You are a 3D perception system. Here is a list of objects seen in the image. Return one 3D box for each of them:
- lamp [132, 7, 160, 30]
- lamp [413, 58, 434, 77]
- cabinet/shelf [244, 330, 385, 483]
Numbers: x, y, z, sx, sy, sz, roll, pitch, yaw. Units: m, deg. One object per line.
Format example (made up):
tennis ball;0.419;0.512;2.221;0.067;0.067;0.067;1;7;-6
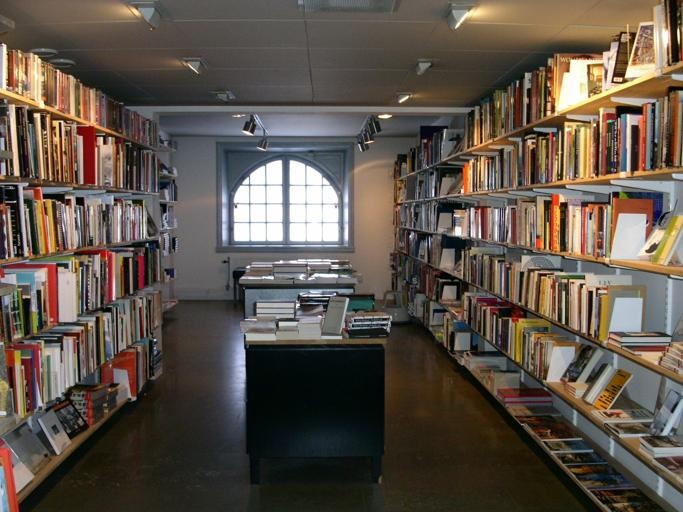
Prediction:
lamp;-1.335;-1.625;3.777;0.143;0.114;0.185;-10;19;-23
lamp;0.726;-1.684;4.905;0.103;0.085;0.169;-13;3;-3
cabinet/shelf;-0.182;1.053;4.210;1.110;0.901;1.017;0;0;1
